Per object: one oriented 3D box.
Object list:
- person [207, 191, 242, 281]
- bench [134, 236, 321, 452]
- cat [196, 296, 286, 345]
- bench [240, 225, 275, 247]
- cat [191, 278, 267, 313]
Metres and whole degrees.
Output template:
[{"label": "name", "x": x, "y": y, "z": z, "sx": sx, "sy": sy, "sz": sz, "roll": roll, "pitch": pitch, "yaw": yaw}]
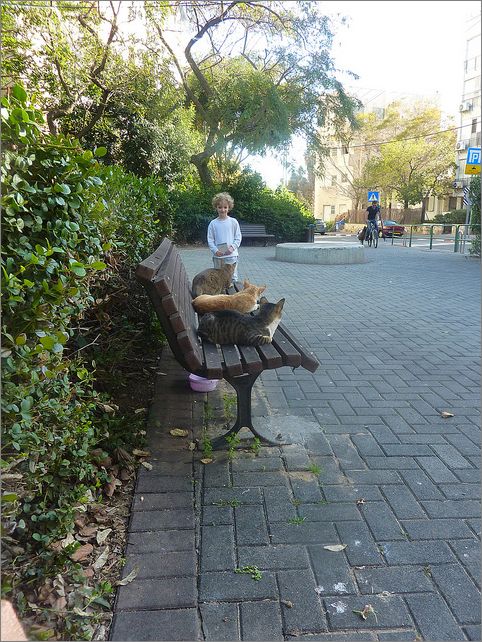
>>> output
[{"label": "person", "x": -0.239, "y": -1.108, "z": 6.296, "sx": 0.466, "sy": 1.302, "sz": 0.406, "roll": 2, "pitch": 35, "yaw": 3}, {"label": "bench", "x": -0.155, "y": 0.161, "z": 3.343, "sx": 1.065, "sy": 1.339, "sz": 1.236, "roll": -5, "pitch": 15, "yaw": -10}, {"label": "cat", "x": 0.051, "y": -0.001, "z": 3.372, "sx": 0.753, "sy": 0.385, "sz": 0.237, "roll": 2, "pitch": 17, "yaw": 7}, {"label": "bench", "x": 0.600, "y": -3.970, "z": 20.052, "sx": 1.656, "sy": 0.780, "sz": 0.750, "roll": -7, "pitch": 35, "yaw": -24}, {"label": "cat", "x": -0.058, "y": -0.159, "z": 4.187, "sx": 0.708, "sy": 0.339, "sz": 0.269, "roll": -14, "pitch": 42, "yaw": -16}]
